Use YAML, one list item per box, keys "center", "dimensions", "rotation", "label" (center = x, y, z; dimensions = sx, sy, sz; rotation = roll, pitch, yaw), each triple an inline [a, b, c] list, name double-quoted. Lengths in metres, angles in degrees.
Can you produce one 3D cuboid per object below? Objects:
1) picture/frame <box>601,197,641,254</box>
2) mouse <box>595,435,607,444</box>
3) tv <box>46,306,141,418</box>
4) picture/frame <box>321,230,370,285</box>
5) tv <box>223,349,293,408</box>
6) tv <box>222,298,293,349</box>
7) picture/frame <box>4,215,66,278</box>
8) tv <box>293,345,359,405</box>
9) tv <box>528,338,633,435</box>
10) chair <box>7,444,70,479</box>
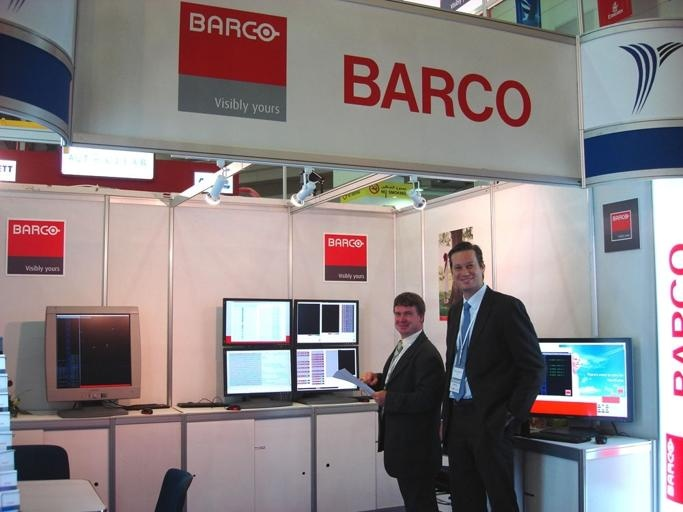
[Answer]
- center: [2.035, -0.221, 4.470]
  dimensions: [0.052, 0.544, 0.360]
  rotation: [1, -4, -33]
  label: "picture/frame"
- center: [1.783, 1.276, 4.237]
  dimensions: [0.056, 0.056, 0.055]
  rotation: [1, -19, -3]
  label: "mouse"
- center: [-2.155, 0.996, 5.372]
  dimensions: [0.785, 1.020, 0.545]
  rotation: [5, -38, -30]
  label: "tv"
- center: [0.027, 0.028, 6.543]
  dimensions: [0.503, 0.570, 0.042]
  rotation: [2, -10, -19]
  label: "picture/frame"
- center: [-0.767, 1.107, 5.873]
  dimensions: [0.813, 0.705, 0.435]
  rotation: [3, -11, -18]
  label: "tv"
- center: [-0.773, 0.631, 5.781]
  dimensions: [0.626, 0.456, 0.060]
  rotation: [0, -5, -17]
  label: "tv"
- center: [-2.729, -0.072, 5.490]
  dimensions: [0.501, 0.543, 0.055]
  rotation: [0, 0, -19]
  label: "picture/frame"
- center: [-0.189, 1.183, 6.183]
  dimensions: [0.674, 0.538, 0.397]
  rotation: [2, -8, -21]
  label: "tv"
- center: [1.701, 0.917, 4.347]
  dimensions: [0.693, 0.570, 0.053]
  rotation: [-2, -8, 31]
  label: "tv"
- center: [-2.029, 1.420, 4.216]
  dimensions: [0.347, 0.227, 0.104]
  rotation: [0, -5, -15]
  label: "chair"
